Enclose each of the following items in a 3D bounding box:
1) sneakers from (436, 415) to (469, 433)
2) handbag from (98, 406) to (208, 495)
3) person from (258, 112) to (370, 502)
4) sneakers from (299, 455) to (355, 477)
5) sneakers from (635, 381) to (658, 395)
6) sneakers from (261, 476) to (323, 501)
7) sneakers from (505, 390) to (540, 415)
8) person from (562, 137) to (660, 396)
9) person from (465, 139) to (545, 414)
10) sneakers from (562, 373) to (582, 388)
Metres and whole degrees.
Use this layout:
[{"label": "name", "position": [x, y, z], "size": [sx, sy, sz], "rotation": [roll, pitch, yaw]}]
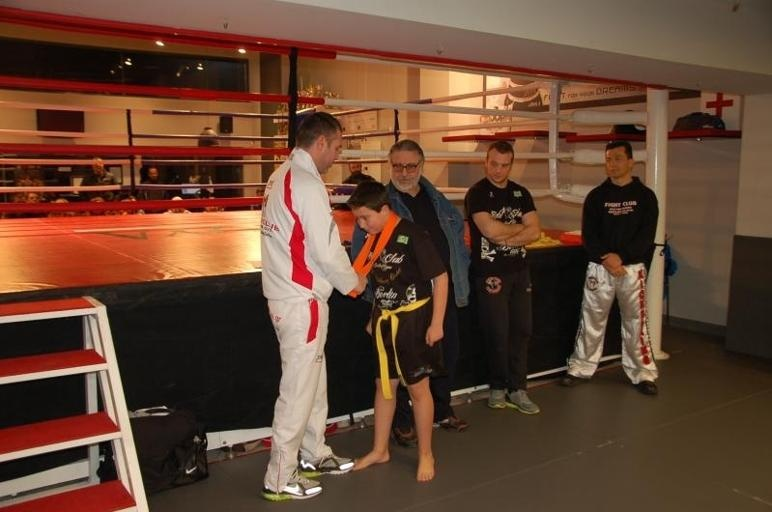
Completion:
[{"label": "sneakers", "position": [0.509, 1.281, 3.977], "size": [0.243, 0.097, 0.109], "rotation": [-2, 0, 3]}, {"label": "handbag", "position": [-1.539, 1.224, 3.511], "size": [0.647, 0.517, 0.456], "rotation": [-4, 7, -32]}, {"label": "person", "position": [-0.540, 0.311, 3.308], "size": [0.774, 2.384, 0.507], "rotation": [-10, 15, -33]}, {"label": "sneakers", "position": [-0.398, 1.405, 3.569], "size": [0.395, 0.168, 0.134], "rotation": [-1, -3, -6]}, {"label": "sneakers", "position": [2.291, 1.158, 4.567], "size": [0.082, 0.080, 0.198], "rotation": [0, -3, -12]}, {"label": "sneakers", "position": [-0.613, 1.450, 3.355], "size": [0.411, 0.176, 0.141], "rotation": [-1, 2, -15]}, {"label": "sneakers", "position": [1.100, 1.185, 4.299], "size": [0.134, 0.132, 0.301], "rotation": [-6, 9, -40]}, {"label": "person", "position": [2.069, 0.093, 4.615], "size": [0.745, 2.164, 0.647], "rotation": [4, 14, 26]}, {"label": "person", "position": [0.948, 0.189, 4.189], "size": [0.591, 2.165, 0.420], "rotation": [-1, 12, 5]}, {"label": "sneakers", "position": [1.693, 1.144, 4.739], "size": [0.182, 0.073, 0.081], "rotation": [7, -13, -39]}]
